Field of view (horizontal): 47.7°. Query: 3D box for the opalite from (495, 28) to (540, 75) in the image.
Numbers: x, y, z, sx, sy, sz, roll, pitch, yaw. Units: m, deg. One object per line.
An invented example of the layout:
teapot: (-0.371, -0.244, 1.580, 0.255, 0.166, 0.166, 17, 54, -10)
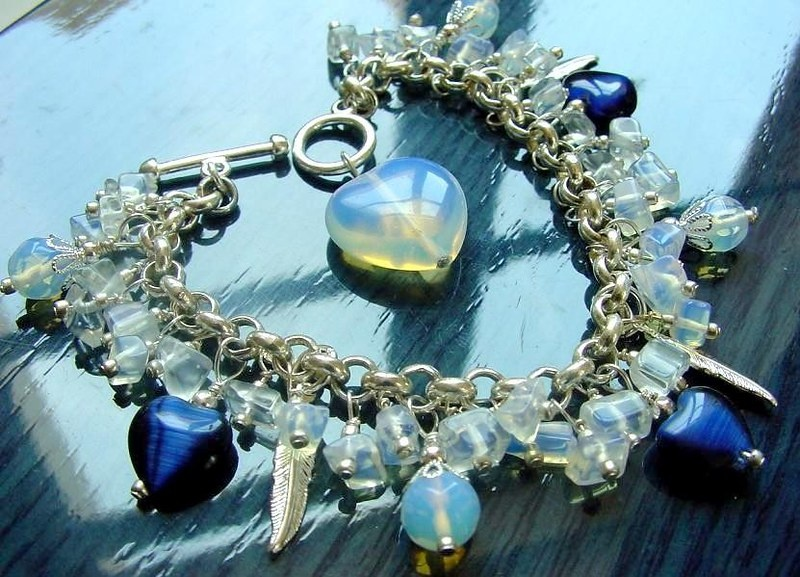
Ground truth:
opalite: (0.314, -0.644, 2.501, 0.098, 0.032, 0.138, 13, 80, 32)

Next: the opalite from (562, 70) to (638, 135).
opalite: (0.519, -0.516, 2.475, 0.244, 0.154, 0.207, 7, 26, 7)

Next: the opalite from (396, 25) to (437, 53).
opalite: (0.042, -0.699, 2.526, 0.080, 0.021, 0.088, 0, 59, -15)

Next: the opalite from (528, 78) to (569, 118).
opalite: (0.387, -0.496, 2.387, 0.112, 0.112, 0.033, -30, 43, 41)

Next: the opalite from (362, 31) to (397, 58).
opalite: (-0.060, -0.680, 2.517, 0.073, 0.039, 0.089, 5, 79, -2)
